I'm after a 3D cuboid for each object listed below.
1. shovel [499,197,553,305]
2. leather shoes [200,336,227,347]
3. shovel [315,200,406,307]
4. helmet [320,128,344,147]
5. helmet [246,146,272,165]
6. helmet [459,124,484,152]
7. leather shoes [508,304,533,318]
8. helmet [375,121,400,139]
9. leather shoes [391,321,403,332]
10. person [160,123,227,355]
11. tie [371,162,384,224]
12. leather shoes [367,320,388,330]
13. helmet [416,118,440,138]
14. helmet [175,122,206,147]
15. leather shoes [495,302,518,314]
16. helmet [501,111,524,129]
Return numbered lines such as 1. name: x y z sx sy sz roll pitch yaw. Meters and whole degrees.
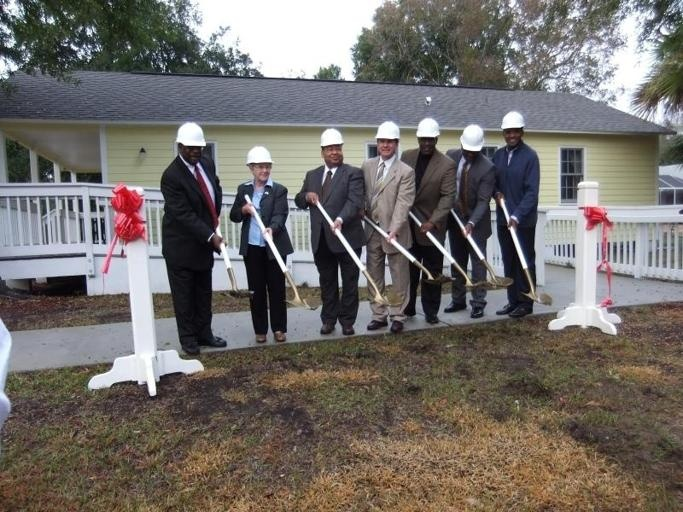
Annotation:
1. shovel: 2.195 0.019 6.648 0.103 0.992 0.258 40 -3 3
2. leather shoes: -1.415 0.944 6.230 0.325 0.162 0.130 -1 2 0
3. shovel: 0.182 -0.067 6.368 0.959 1.205 0.646 -2 3 -4
4. helmet: -0.126 -1.360 6.515 0.282 0.238 0.403 -4 12 -6
5. helmet: -0.952 -1.104 6.294 0.312 0.247 0.422 -4 8 -23
6. helmet: 1.652 -1.492 7.000 0.252 0.358 0.344 -1 3 10
7. leather shoes: 2.338 0.698 7.211 0.338 0.141 0.126 -1 18 -30
8. helmet: 0.560 -1.452 6.559 0.227 0.192 0.328 6 18 9
9. leather shoes: 0.666 0.844 6.609 0.089 0.178 0.073 0 15 -8
10. person: -1.581 -0.166 5.930 0.647 2.429 0.595 -4 4 -27
11. tie: 0.434 -0.725 6.646 0.089 0.748 0.080 7 6 0
12. leather shoes: 0.446 0.846 6.794 0.248 0.121 0.101 4 -4 -30
13. helmet: 1.039 -1.560 6.639 0.225 0.196 0.330 3 16 8
14. helmet: -1.580 -1.258 5.764 0.277 0.236 0.380 -2 17 -32
15. leather shoes: 2.184 0.724 7.387 0.283 0.128 0.108 -20 -7 -5
16. helmet: 2.173 -1.723 6.975 0.224 0.276 0.404 0 3 27
